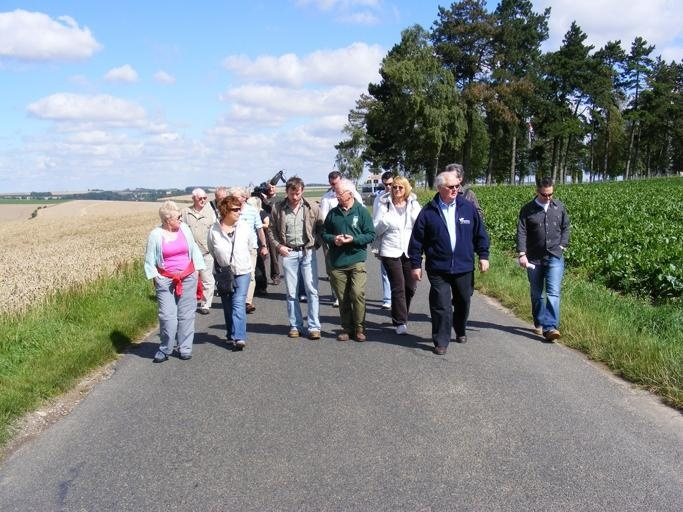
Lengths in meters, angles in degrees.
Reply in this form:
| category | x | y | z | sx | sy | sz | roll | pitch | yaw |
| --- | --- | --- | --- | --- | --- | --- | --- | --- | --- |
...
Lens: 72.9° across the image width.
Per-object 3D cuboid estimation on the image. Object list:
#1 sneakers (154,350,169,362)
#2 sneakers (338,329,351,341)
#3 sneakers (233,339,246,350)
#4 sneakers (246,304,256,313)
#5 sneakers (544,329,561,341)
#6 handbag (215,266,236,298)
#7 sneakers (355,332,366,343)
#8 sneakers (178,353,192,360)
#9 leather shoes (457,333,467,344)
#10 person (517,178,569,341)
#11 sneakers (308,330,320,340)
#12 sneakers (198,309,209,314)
| category | x | y | z | sx | sy | sz | roll | pitch | yaw |
| --- | --- | --- | --- | --- | --- | --- | --- | --- | --- |
| sneakers | -2.523 | 1.396 | 6.419 | 0.110 | 0.105 | 0.208 | 2 | -10 | -5 |
| sneakers | 0.045 | 1.229 | 7.384 | 0.211 | 0.154 | 0.474 | -1 | 8 | 0 |
| sneakers | -1.524 | 1.300 | 6.829 | 0.187 | 0.147 | 0.226 | -1 | 8 | -2 |
| sneakers | -1.798 | 1.038 | 9.073 | 0.213 | 0.279 | 0.621 | -1 | -9 | -12 |
| sneakers | 3.143 | 1.183 | 6.841 | 0.103 | 0.130 | 0.276 | -1 | 0 | 2 |
| handbag | -1.773 | 0.377 | 7.043 | 0.385 | 0.543 | 0.262 | -2 | -12 | -2 |
| sneakers | 0.296 | 1.244 | 7.136 | 0.155 | 0.122 | 0.158 | -1 | 8 | 2 |
| sneakers | -2.210 | 1.411 | 6.485 | 0.180 | 0.069 | 0.111 | -1 | 8 | 0 |
| leather shoes | 1.837 | 1.235 | 6.935 | 0.182 | 0.106 | 0.129 | -3 | 8 | -17 |
| person | 3.261 | -0.014 | 7.289 | 0.735 | 2.435 | 1.007 | -2 | 7 | -6 |
| sneakers | -0.429 | 1.236 | 7.357 | 0.205 | 0.146 | 0.256 | -2 | 8 | -5 |
| sneakers | -2.814 | 1.132 | 9.438 | 0.117 | 0.073 | 0.165 | 2 | 1 | -3 |
